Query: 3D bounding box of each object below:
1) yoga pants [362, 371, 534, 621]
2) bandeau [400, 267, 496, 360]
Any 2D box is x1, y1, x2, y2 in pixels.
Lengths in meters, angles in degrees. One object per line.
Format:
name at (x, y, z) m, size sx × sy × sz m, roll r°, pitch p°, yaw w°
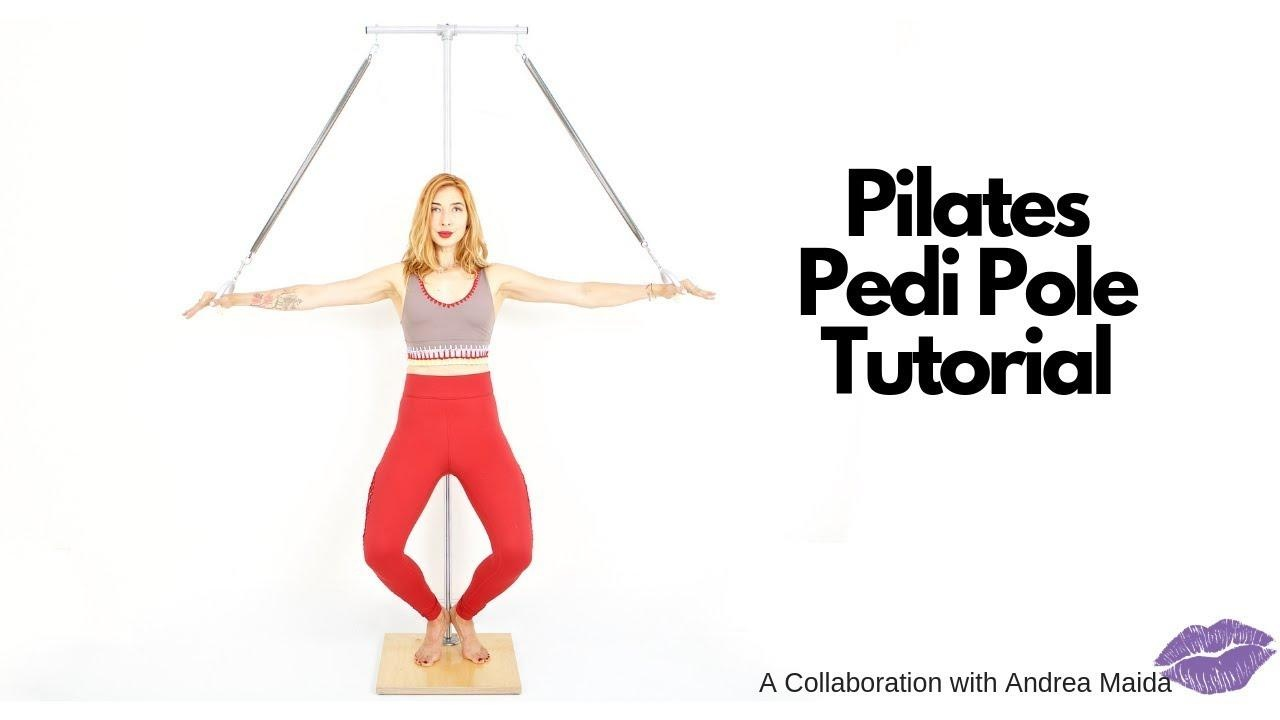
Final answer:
yoga pants at (-1.093, 0.774, 6.532) m, size 0.669 × 1.336 × 0.703 m, roll -16°, pitch -21°, yaw 42°
bandeau at (-1.075, -0.269, 6.535) m, size 0.563 × 0.497 × 0.277 m, roll -2°, pitch 2°, yaw 3°
